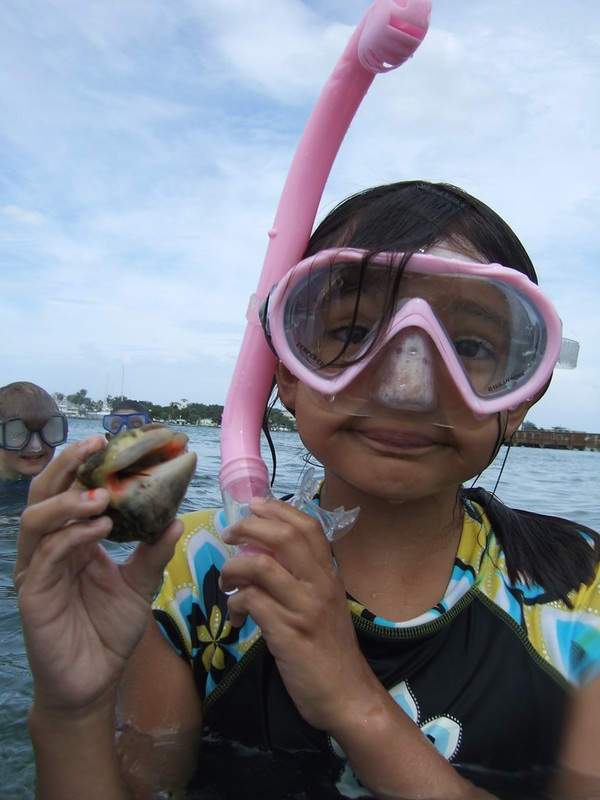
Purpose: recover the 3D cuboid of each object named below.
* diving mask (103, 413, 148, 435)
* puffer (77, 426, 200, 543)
[{"bbox_3d":[-1.290,0.167,4.852,0.317,0.135,0.334,-1,-7,-9],"label":"diving mask"},{"bbox_3d":[-0.301,0.145,1.248,0.215,0.224,0.119,-2,13,-34],"label":"puffer"}]
